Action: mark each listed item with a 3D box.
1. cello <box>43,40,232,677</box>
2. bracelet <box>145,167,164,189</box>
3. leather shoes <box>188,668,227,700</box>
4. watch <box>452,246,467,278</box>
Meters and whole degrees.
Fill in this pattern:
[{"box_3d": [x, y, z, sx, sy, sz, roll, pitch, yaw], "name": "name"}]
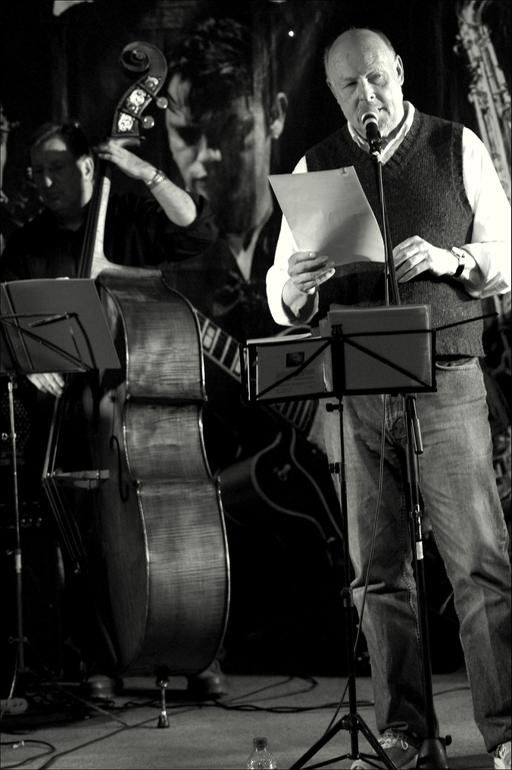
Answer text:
[{"box_3d": [-0.336, 0.118, 3.110, 0.393, 1.476, 0.572, -7, 8, -36], "name": "cello"}, {"box_3d": [-0.301, -0.617, 3.354, 0.014, 0.053, 0.048, 31, -19, -17], "name": "bracelet"}, {"box_3d": [-0.138, 0.888, 3.310, 0.109, 0.125, 0.084, -2, -9, -12], "name": "leather shoes"}, {"box_3d": [0.494, -0.297, 2.736, 0.036, 0.060, 0.057, 12, 11, 21], "name": "watch"}]
